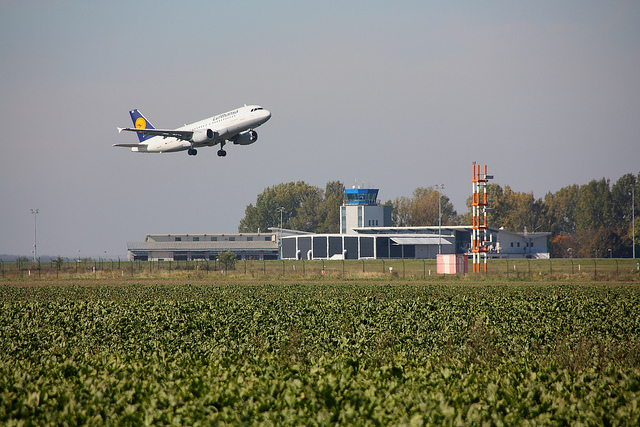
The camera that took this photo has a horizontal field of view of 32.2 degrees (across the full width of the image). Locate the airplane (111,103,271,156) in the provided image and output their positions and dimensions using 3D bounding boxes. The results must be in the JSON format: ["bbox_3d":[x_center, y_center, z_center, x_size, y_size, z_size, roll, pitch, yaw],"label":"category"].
[{"bbox_3d":[-9.166,-6.286,88.679,7.251,3.083,7.894,-22,-8,31],"label":"airplane"}]
